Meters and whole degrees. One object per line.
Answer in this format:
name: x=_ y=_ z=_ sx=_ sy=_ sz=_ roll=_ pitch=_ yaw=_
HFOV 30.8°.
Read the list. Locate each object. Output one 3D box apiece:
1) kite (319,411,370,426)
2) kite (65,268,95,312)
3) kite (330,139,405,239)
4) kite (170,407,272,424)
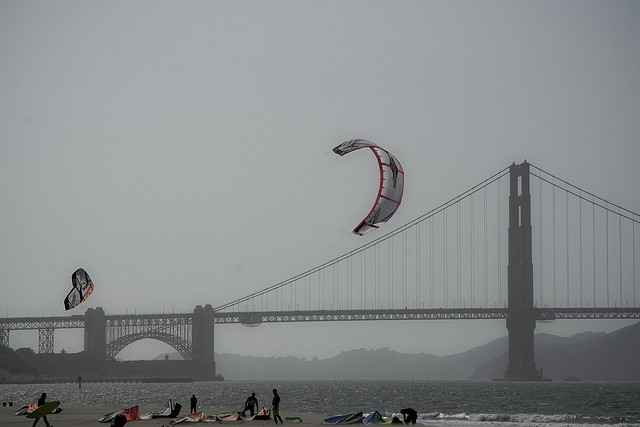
kite: x=2.003 y=17.730 z=100.556 sx=2.762 sy=1.057 sz=2.083 roll=3 pitch=2 yaw=-6
kite: x=-20.937 y=5.741 z=100.860 sx=1.881 sy=0.909 sz=2.911 roll=-41 pitch=-32 yaw=-12
kite: x=4.174 y=-2.528 z=99.744 sx=5.843 sy=7.776 sz=4.273 roll=-1 pitch=-18 yaw=2
kite: x=-8.662 y=17.536 z=100.929 sx=8.097 sy=1.644 sz=2.665 roll=2 pitch=-17 yaw=-8
